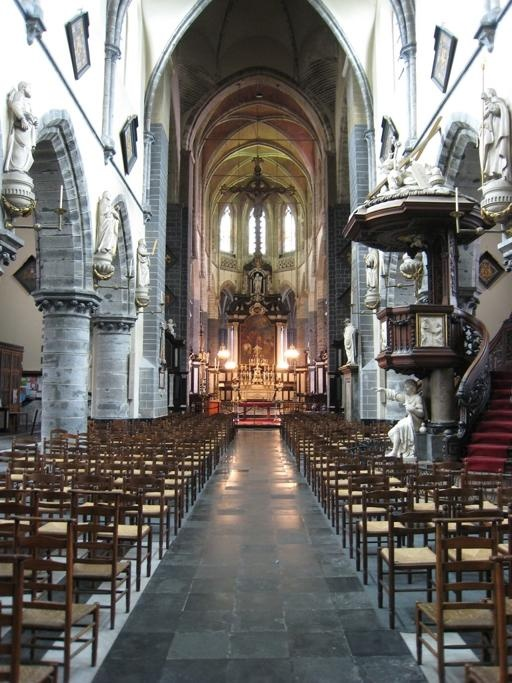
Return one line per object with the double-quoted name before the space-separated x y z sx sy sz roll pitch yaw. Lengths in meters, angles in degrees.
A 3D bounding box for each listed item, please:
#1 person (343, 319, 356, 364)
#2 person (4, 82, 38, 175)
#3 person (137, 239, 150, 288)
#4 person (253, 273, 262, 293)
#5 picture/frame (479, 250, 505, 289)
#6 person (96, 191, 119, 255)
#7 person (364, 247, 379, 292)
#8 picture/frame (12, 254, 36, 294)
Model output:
"person" 2.927 0.107 21.909 0.276 1.336 0.816 1 -4 -2
"person" -3.050 -2.731 9.137 0.338 1.265 0.482 2 -4 -10
"person" -3.111 -2.124 19.383 0.298 1.485 1.070 2 -4 -13
"person" 0.154 -4.016 49.564 0.628 1.414 0.672 2 -4 -6
"picture/frame" 7.071 -2.120 21.222 0.665 1.128 0.234 0 -4 19
"person" -3.058 -2.405 14.501 0.434 1.462 1.147 2 -4 -13
"person" 2.996 -1.833 18.210 0.328 1.103 0.504 0 -4 17
"picture/frame" -8.750 -2.513 26.790 0.698 1.356 0.530 3 -4 -22
